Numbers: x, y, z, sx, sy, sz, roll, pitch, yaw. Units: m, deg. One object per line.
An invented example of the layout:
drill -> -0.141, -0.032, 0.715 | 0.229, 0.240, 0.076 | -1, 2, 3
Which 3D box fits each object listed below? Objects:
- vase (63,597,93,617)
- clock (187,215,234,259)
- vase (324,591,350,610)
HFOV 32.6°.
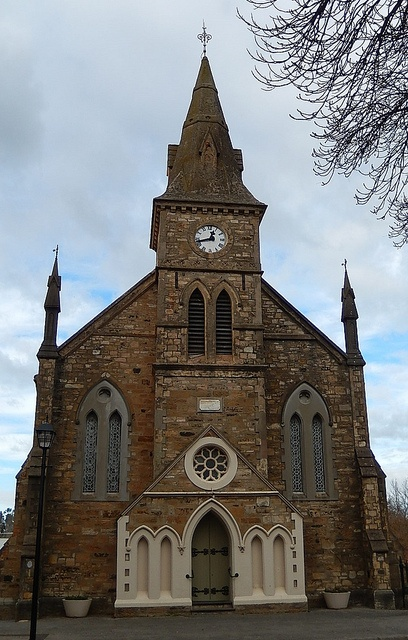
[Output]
vase -> -3.196, 7.151, 17.484 | 0.475, 0.309, 0.485 | -11, -20, 32
clock -> 0.147, -2.505, 21.338 | 1.091, 1.038, 0.092 | -29, -14, -27
vase -> 3.554, 7.405, 18.619 | 0.460, 0.279, 0.475 | 1, -13, -6
